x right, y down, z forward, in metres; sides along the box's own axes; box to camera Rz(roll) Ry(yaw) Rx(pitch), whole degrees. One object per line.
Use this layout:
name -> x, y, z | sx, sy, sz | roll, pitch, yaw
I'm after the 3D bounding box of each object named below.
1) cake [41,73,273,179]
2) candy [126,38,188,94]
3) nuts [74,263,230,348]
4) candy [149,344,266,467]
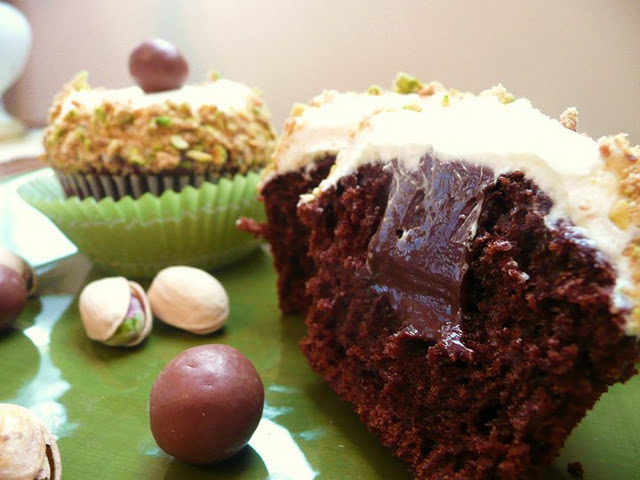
cake -> -0.478, -0.394, 1.898 | 0.586, 0.343, 0.490 | -9, 21, -12
candy -> -0.506, -0.520, 2.013 | 0.208, 0.189, 0.193 | 9, 8, -3
nuts -> -0.454, 0.188, 1.790 | 0.395, 0.206, 0.148 | 0, 23, -20
candy -> -0.241, 0.356, 1.495 | 0.251, 0.213, 0.198 | -36, 1, -4
